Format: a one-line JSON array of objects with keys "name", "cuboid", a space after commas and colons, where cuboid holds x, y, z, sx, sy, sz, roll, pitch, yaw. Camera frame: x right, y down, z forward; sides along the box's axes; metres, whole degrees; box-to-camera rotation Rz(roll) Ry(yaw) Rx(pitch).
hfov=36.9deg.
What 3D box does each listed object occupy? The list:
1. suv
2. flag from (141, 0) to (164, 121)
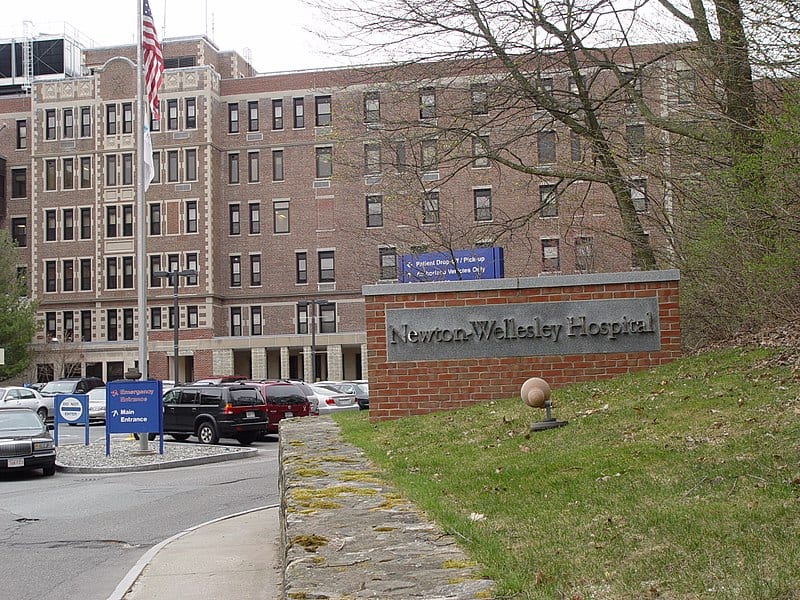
[{"name": "suv", "cuboid": [-5.531, 3.236, 34.880, 3.325, 1.378, 1.655, 1, -3, 32]}, {"name": "flag", "cuboid": [-6.611, -6.524, 31.945, 0.504, 2.906, 1.794, -5, -5, -11]}]
